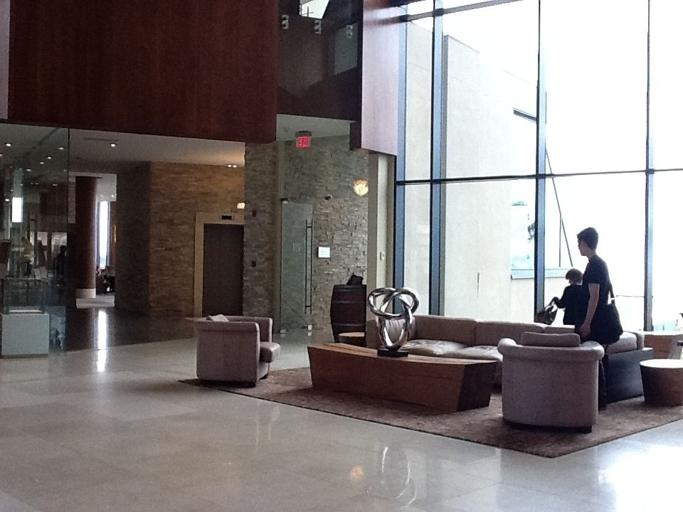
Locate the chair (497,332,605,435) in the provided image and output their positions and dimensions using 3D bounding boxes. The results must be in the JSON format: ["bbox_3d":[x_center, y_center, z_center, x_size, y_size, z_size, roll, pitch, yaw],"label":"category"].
[{"bbox_3d":[2.173,1.110,6.088,1.014,1.036,0.867,0,0,19],"label":"chair"}]

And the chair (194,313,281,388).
[{"bbox_3d":[-1.415,1.260,7.975,1.125,0.871,1.171,0,-5,17],"label":"chair"}]

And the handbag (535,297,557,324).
[{"bbox_3d":[3.130,0.839,9.027,0.372,0.407,0.250,-16,24,-37],"label":"handbag"}]

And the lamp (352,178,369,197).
[{"bbox_3d":[0.425,-1.566,13.539,0.419,0.463,0.255,2,11,-2],"label":"lamp"}]
